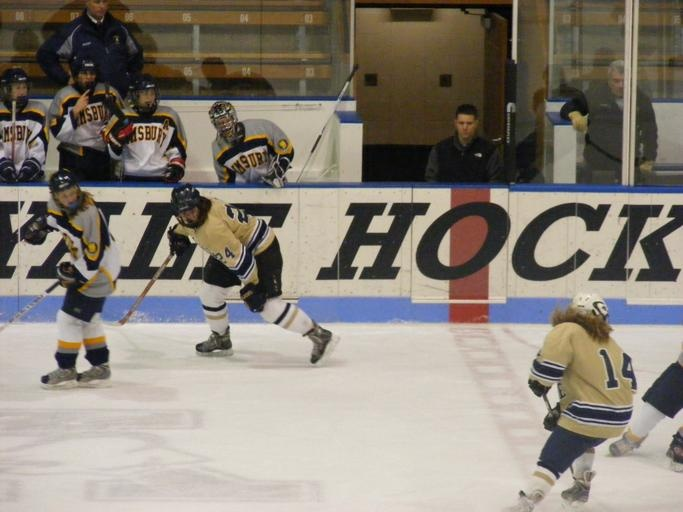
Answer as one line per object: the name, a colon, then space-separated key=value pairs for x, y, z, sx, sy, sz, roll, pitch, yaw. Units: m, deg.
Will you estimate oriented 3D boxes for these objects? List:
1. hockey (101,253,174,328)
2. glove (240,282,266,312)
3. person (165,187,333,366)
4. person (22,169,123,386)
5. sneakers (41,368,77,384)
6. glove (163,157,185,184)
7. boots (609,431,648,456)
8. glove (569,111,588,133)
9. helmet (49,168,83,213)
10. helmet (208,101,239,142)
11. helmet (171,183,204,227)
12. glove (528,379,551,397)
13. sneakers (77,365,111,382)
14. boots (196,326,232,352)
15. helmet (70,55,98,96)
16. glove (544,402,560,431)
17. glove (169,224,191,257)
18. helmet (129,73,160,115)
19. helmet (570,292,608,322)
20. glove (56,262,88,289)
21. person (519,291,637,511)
hockey: x=-1.726 y=0.258 z=9.793 sx=0.090 sy=0.777 sz=0.138 roll=13 pitch=32 yaw=-50
glove: x=-0.664 y=0.308 z=9.004 sx=0.160 sy=0.233 sz=0.171 roll=-25 pitch=20 yaw=6
person: x=-0.717 y=0.131 z=9.077 sx=1.276 sy=1.570 sz=0.748 roll=7 pitch=25 yaw=15
person: x=-1.924 y=0.154 z=8.587 sx=0.562 sy=1.567 sz=0.316 roll=0 pitch=11 yaw=-11
sneakers: x=-2.078 y=0.880 z=8.559 sx=0.242 sy=0.122 sz=0.110 roll=3 pitch=6 yaw=-13
glove: x=-1.476 y=-0.744 z=10.244 sx=0.091 sy=0.157 sz=0.222 roll=6 pitch=34 yaw=38
boots: x=1.923 y=1.256 z=7.762 sx=0.229 sy=0.093 sz=0.137 roll=-19 pitch=7 yaw=-20
glove: x=2.160 y=-1.214 z=10.529 sx=0.186 sy=0.195 sz=0.098 roll=5 pitch=11 yaw=13
helmet: x=-2.015 y=-0.486 z=8.486 sx=0.237 sy=0.301 sz=0.310 roll=-20 pitch=20 yaw=-11
helmet: x=-0.984 y=-1.147 z=9.931 sx=0.228 sy=0.350 sz=0.287 roll=3 pitch=11 yaw=0
helmet: x=-1.168 y=-0.398 z=8.651 sx=0.220 sy=0.292 sz=0.298 roll=-18 pitch=52 yaw=16
glove: x=1.243 y=0.808 z=7.208 sx=0.093 sy=0.116 sz=0.089 roll=4 pitch=40 yaw=10
sneakers: x=-1.837 y=0.873 z=8.686 sx=0.258 sy=0.116 sz=0.098 roll=2 pitch=4 yaw=-9
boots: x=-1.006 y=0.690 z=9.440 sx=0.304 sy=0.190 sz=0.154 roll=2 pitch=-2 yaw=1
helmet: x=-2.280 y=-1.617 z=10.356 sx=0.232 sy=0.281 sz=0.295 roll=-2 pitch=3 yaw=-23
glove: x=1.330 y=1.008 z=7.263 sx=0.055 sy=0.162 sz=0.099 roll=28 pitch=-4 yaw=-29
glove: x=-1.292 y=-0.130 z=9.248 sx=0.171 sy=0.080 sz=0.227 roll=38 pitch=25 yaw=-13
helmet: x=-1.747 y=-1.446 z=10.291 sx=0.262 sy=0.322 sz=0.341 roll=-8 pitch=15 yaw=-36
helmet: x=1.559 y=0.334 z=7.256 sx=0.198 sy=0.155 sz=0.182 roll=7 pitch=38 yaw=15
glove: x=-1.970 y=0.139 z=8.529 sx=0.207 sy=0.182 sz=0.165 roll=11 pitch=25 yaw=-17
person: x=1.438 y=0.908 z=7.147 sx=0.761 sy=1.306 sz=0.450 roll=1 pitch=11 yaw=-9
